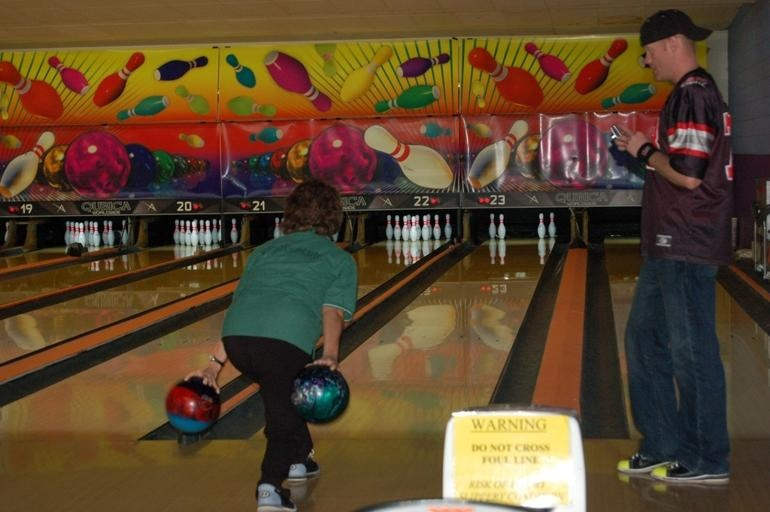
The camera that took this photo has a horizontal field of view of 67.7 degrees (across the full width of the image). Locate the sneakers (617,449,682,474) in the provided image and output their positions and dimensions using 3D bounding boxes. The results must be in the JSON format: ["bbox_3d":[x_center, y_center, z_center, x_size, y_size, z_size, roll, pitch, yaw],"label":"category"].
[{"bbox_3d":[0.959,0.743,2.093,0.198,0.074,0.072,2,-7,4],"label":"sneakers"}]

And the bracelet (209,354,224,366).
[{"bbox_3d":[-0.662,0.405,2.237,0.043,0.028,0.059,-3,-36,48],"label":"bracelet"}]

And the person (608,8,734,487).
[{"bbox_3d":[1.041,-0.046,2.041,0.459,1.660,0.240,3,5,19],"label":"person"}]

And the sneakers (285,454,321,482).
[{"bbox_3d":[-0.297,0.786,2.134,0.057,0.077,0.136,1,0,24],"label":"sneakers"}]

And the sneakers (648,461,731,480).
[{"bbox_3d":[1.054,0.769,2.008,0.231,0.062,0.089,0,-11,17],"label":"sneakers"}]

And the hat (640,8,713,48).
[{"bbox_3d":[1.020,-0.807,2.046,0.233,0.113,0.143,-10,19,19],"label":"hat"}]

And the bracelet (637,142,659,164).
[{"bbox_3d":[0.923,-0.365,2.038,0.058,0.066,0.069,11,-4,-3],"label":"bracelet"}]
